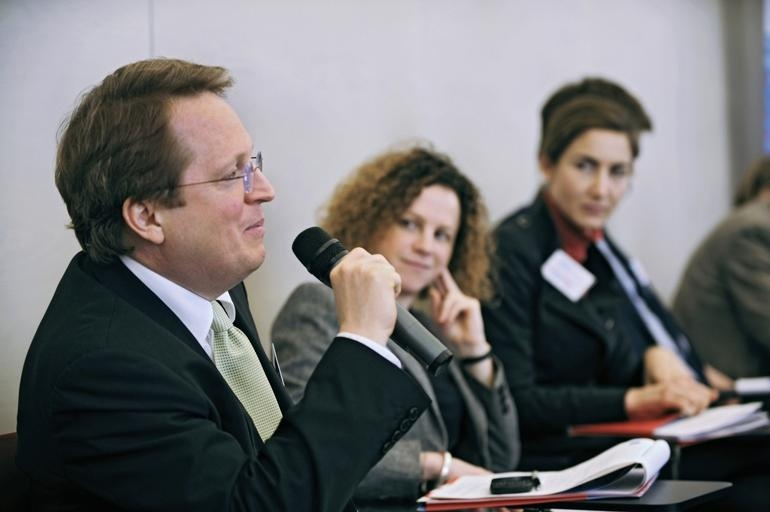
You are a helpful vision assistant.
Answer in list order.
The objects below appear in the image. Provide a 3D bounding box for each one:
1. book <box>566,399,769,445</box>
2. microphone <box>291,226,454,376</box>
[{"bbox_3d":[1.094,0.670,3.040,0.859,0.092,0.515,-7,-4,-1],"label":"book"},{"bbox_3d":[-0.067,0.155,2.535,0.717,0.174,0.172,39,8,13],"label":"microphone"}]
